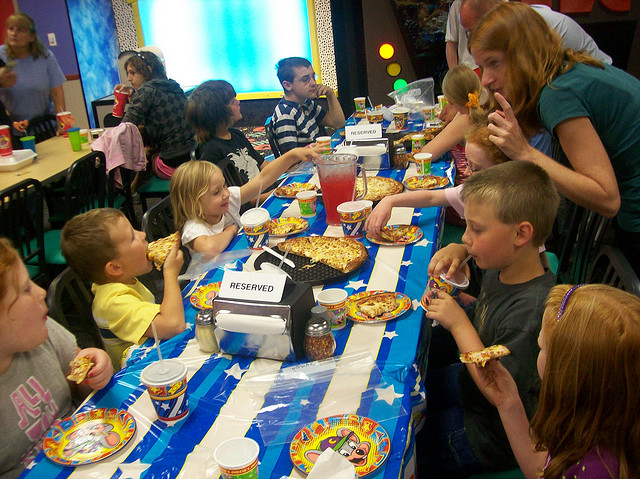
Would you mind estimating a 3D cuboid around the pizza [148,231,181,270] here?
[{"bbox_3d":[-0.608,0.053,1.698,0.105,0.054,0.147,14,41,29],"label":"pizza"}]

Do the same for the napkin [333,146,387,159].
[{"bbox_3d":[0.275,-0.562,2.642,0.219,0.054,0.215,1,13,12],"label":"napkin"}]

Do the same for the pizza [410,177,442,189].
[{"bbox_3d":[0.592,-0.335,2.425,0.108,0.019,0.112,-5,34,7],"label":"pizza"}]

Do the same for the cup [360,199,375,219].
[{"bbox_3d":[0.226,-0.150,1.997,0.080,0.066,0.086,-3,32,2],"label":"cup"}]

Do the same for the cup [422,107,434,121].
[{"bbox_3d":[0.961,-1.119,3.737,0.101,0.116,0.106,-6,25,3],"label":"cup"}]

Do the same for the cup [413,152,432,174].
[{"bbox_3d":[0.619,-0.459,2.513,0.111,0.097,0.119,-5,15,1],"label":"cup"}]

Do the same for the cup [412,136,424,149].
[{"bbox_3d":[0.665,-0.672,2.878,0.077,0.084,0.079,-3,28,2],"label":"cup"}]

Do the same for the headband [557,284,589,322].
[{"bbox_3d":[0.559,0.141,0.964,0.019,0.072,0.065,32,4,10],"label":"headband"}]

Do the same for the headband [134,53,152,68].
[{"bbox_3d":[-1.843,-1.904,4.457,0.152,0.156,0.043,35,85,30],"label":"headband"}]

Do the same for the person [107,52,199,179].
[{"bbox_3d":[-1.817,-1.243,4.677,0.930,1.515,0.823,22,32,21],"label":"person"}]

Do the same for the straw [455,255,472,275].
[{"bbox_3d":[0.583,0.100,1.724,0.122,0.014,0.014,-47,9,-11],"label":"straw"}]

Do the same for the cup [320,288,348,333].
[{"bbox_3d":[0.051,0.240,1.413,0.102,0.121,0.102,-1,10,0],"label":"cup"}]

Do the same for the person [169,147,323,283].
[{"bbox_3d":[-0.358,-0.126,2.101,0.365,0.194,0.845,6,34,8],"label":"person"}]

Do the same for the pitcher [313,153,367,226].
[{"bbox_3d":[0.171,-0.267,2.102,0.329,0.414,0.256,-9,18,-19],"label":"pitcher"}]

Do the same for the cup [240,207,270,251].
[{"bbox_3d":[-0.288,-0.023,1.956,0.115,0.125,0.116,-1,1,0],"label":"cup"}]

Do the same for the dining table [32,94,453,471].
[{"bbox_3d":[-0.130,0.195,1.493,0.914,0.403,1.375,-3,19,19],"label":"dining table"}]

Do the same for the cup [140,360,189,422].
[{"bbox_3d":[-0.410,0.424,1.145,0.109,0.116,0.111,-3,-4,0],"label":"cup"}]
